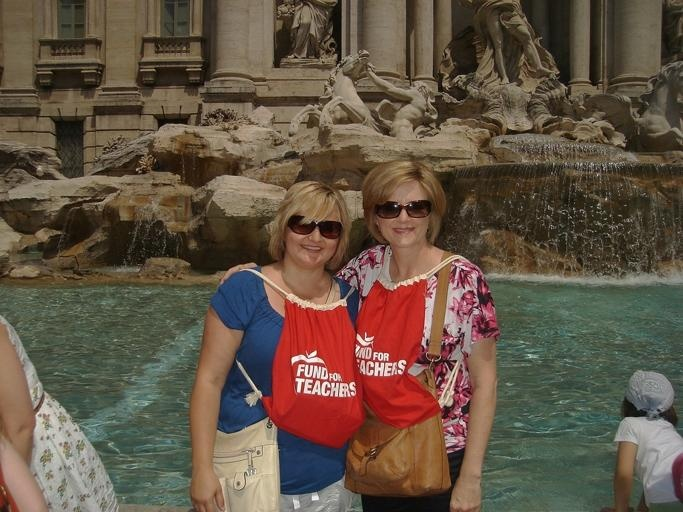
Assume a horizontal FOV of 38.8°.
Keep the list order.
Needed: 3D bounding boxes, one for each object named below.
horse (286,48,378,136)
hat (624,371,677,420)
[{"bbox_3d":[0.282,-4.156,25.633,1.191,2.232,3.185,16,1,35],"label":"horse"},{"bbox_3d":[3.890,1.716,12.367,0.521,0.592,0.550,-1,-28,1],"label":"hat"}]
